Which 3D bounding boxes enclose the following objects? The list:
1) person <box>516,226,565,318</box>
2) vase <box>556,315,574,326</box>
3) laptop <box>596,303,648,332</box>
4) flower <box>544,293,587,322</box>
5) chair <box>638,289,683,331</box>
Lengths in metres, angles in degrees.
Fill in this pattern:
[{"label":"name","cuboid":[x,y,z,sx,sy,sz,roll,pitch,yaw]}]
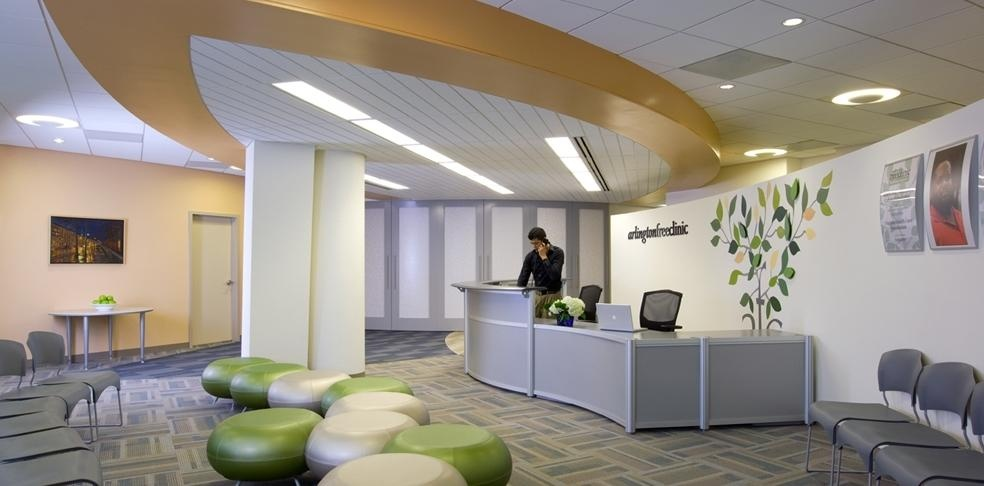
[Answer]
[{"label":"person","cuboid":[0.864,0.519,9.515,0.730,1.581,0.824,3,14,16]},{"label":"vase","cuboid":[1.239,1.289,8.881,0.224,0.130,0.200,0,3,1]},{"label":"laptop","cuboid":[2.078,1.149,8.441,0.517,0.383,0.648,2,-3,-44]},{"label":"flower","cuboid":[1.268,1.091,9.035,0.558,0.323,0.527,-1,-8,27]},{"label":"chair","cuboid":[2.928,1.156,9.205,0.741,0.916,0.748,-4,-7,37]}]
